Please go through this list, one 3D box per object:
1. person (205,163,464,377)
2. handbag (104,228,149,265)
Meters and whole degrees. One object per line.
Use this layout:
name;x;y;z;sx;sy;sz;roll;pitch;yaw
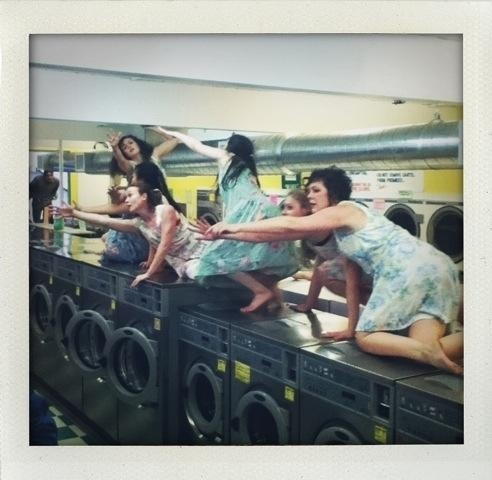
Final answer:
person;0.588;0.088;2.612;1.409;0.936;0.886;-2;-1;20
handbag;-0.643;0.034;2.594;0.211;0.181;0.103;5;16;6
